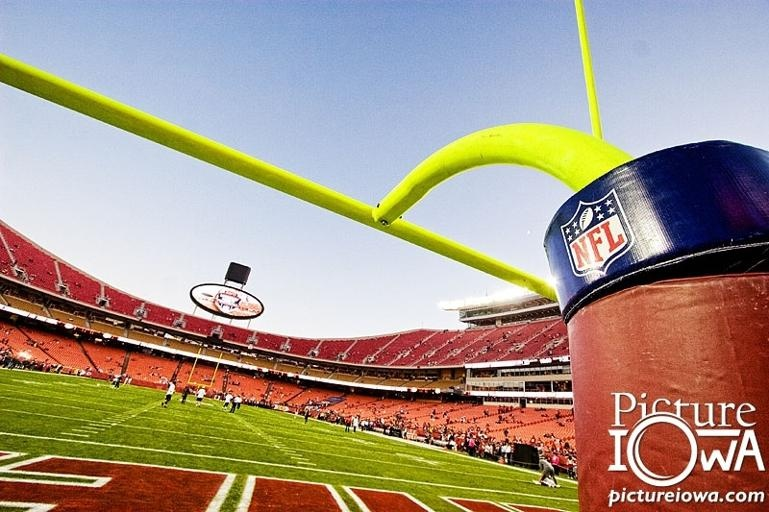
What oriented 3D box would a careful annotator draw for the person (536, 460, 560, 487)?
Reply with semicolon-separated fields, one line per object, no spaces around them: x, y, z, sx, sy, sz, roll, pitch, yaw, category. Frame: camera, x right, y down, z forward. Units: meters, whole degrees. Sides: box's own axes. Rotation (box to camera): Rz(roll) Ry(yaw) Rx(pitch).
4.213;5.576;11.083;0.470;0.662;1.067;-1;-24;19;person
